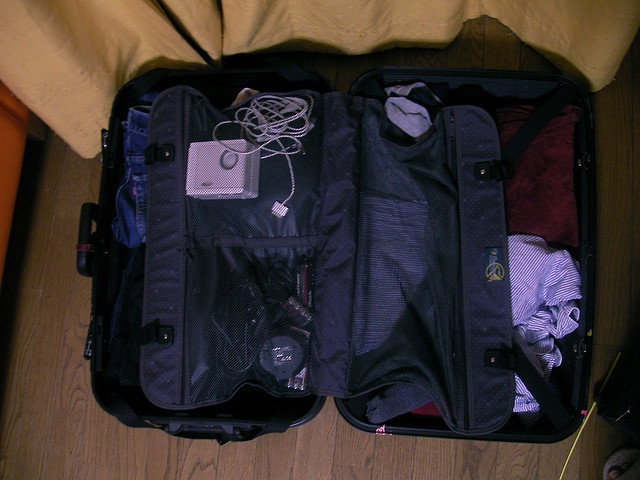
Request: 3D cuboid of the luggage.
[{"bbox_3d":[0.049,0.045,2.050,1.661,0.308,1.245,1,81,3],"label":"luggage"}]
